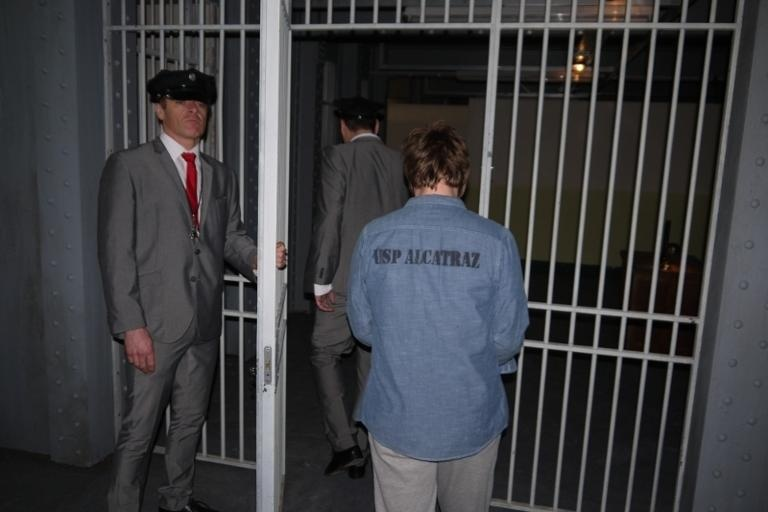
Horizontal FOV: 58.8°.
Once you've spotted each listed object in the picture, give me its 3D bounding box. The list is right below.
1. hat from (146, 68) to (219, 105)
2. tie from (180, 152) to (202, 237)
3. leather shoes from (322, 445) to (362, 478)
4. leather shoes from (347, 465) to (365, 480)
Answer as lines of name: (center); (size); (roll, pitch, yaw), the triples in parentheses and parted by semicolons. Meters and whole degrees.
hat: (-1.460, -1.223, 4.902); (0.434, 0.206, 0.487); (-6, 8, -31)
tie: (-1.375, -0.442, 4.879); (0.100, 0.623, 0.140); (1, -4, -11)
leather shoes: (-0.319, 1.655, 5.472); (0.319, 0.137, 0.181); (-3, -33, 24)
leather shoes: (-0.216, 1.738, 5.468); (0.088, 0.117, 0.119); (-4, 8, 0)
